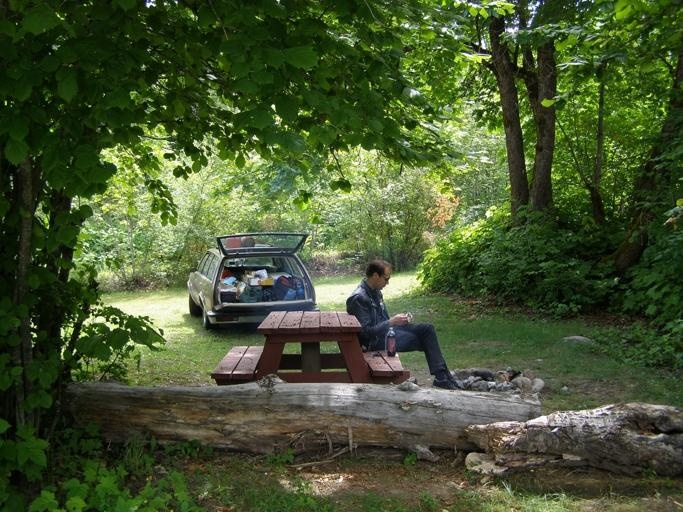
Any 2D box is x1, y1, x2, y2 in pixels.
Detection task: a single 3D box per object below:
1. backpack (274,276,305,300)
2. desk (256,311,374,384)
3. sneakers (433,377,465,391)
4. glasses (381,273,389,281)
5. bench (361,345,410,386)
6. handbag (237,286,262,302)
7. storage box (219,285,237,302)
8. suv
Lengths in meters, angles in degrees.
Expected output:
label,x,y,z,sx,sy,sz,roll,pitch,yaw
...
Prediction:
label,x,y,z,sx,sy,sz,roll,pitch,yaw
backpack,-0.990,0.610,10.160,0.497,0.200,0.526,3,18,-8
desk,-0.330,1.025,6.404,1.082,0.492,0.924,0,-2,-1
sneakers,1.248,1.506,6.336,0.258,0.156,0.428,2,1,33
glasses,0.559,0.266,6.745,0.083,0.088,0.048,-2,5,-26
bench,0.516,1.256,6.096,0.358,0.121,0.603,-1,3,-11
handbag,-1.728,0.698,9.971,0.390,0.278,0.375,2,1,21
storage box,-2.101,0.701,9.924,0.307,0.228,0.259,1,11,-2
suv,-1.926,0.389,10.854,1.928,1.179,2.992,-1,10,-19
